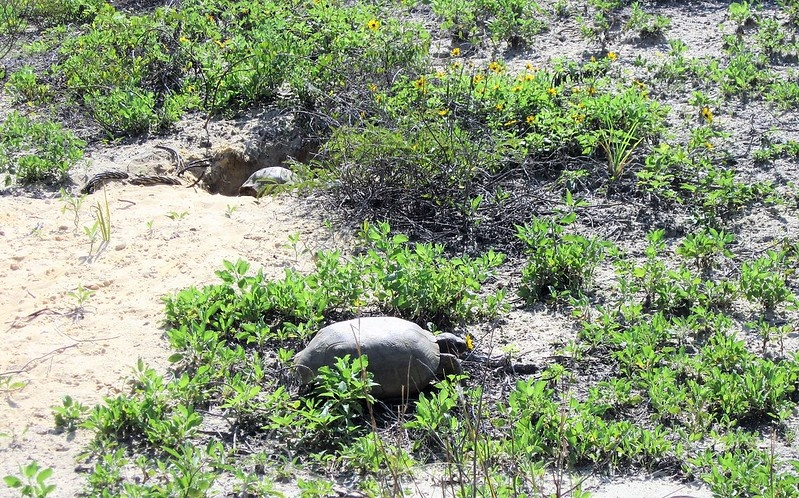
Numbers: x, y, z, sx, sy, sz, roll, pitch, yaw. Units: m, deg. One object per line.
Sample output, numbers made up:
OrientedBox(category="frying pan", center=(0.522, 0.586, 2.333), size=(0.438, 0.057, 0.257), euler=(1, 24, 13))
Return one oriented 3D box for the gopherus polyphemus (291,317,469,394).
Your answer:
OrientedBox(category="gopherus polyphemus", center=(-0.203, 0.863, 7.279), size=(1.434, 0.866, 0.560), euler=(-7, 33, 1))
